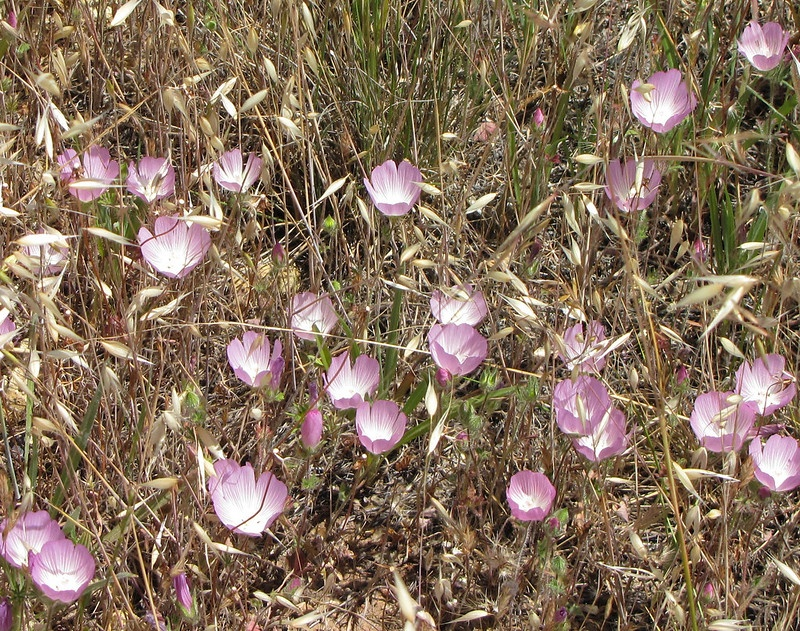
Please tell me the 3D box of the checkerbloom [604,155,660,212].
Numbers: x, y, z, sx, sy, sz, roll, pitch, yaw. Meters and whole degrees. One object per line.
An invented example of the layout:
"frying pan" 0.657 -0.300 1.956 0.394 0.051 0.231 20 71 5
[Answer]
"checkerbloom" 0.733 -0.421 2.637 0.154 0.085 0.200 25 78 26

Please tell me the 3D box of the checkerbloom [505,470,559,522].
"checkerbloom" 0.365 0.495 2.329 0.124 0.127 0.146 1 67 6

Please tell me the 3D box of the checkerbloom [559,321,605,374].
"checkerbloom" 0.535 0.085 2.443 0.128 0.077 0.172 13 59 23

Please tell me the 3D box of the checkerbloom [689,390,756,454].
"checkerbloom" 0.951 0.275 2.407 0.197 0.192 0.143 -25 67 18

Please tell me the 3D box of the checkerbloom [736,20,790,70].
"checkerbloom" 1.304 -0.937 2.954 0.135 0.162 0.166 20 95 17
